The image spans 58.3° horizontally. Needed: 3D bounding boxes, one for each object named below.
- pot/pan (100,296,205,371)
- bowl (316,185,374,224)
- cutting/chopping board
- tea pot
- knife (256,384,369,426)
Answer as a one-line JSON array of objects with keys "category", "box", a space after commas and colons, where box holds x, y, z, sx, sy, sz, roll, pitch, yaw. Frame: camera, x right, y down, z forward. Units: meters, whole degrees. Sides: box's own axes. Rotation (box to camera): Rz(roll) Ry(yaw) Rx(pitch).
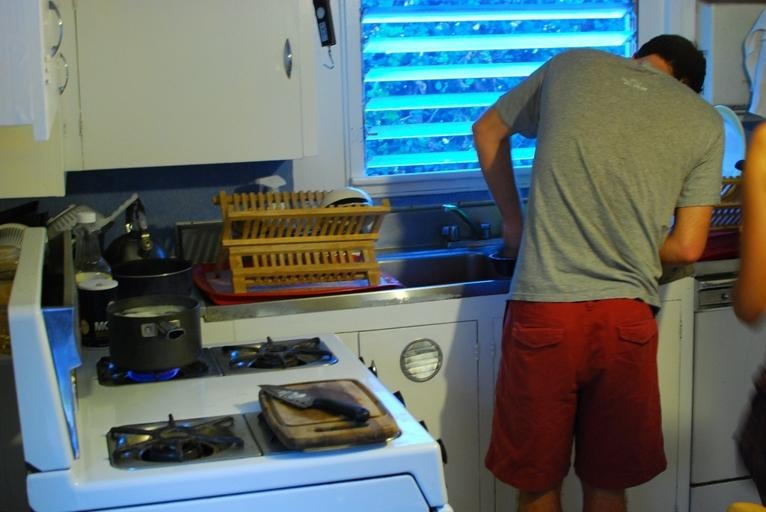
[{"category": "pot/pan", "box": [-0.576, 0.163, 1.689, 0.212, 0.131, 0.217, 0, 7, 1]}, {"category": "bowl", "box": [-0.145, -0.211, 2.490, 0.183, 0.064, 0.152, -12, 13, -40]}, {"category": "cutting/chopping board", "box": [-0.124, 0.352, 1.512, 0.187, 0.051, 0.175, -3, 22, -15]}, {"category": "tea pot", "box": [-0.897, -0.098, 2.447, 0.248, 0.271, 0.313, -3, 7, -25]}, {"category": "knife", "box": [-0.155, 0.321, 1.539, 0.288, 0.024, 0.085, 10, 12, 38]}]
